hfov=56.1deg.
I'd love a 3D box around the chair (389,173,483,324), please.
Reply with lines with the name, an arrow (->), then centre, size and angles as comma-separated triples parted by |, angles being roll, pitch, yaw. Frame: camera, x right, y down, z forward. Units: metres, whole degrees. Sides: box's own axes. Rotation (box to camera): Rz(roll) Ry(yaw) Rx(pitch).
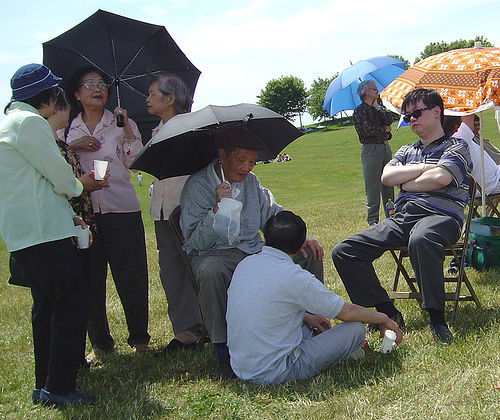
chair -> 2.043, 0.445, 5.283 | 0.767, 1.400, 0.819 | 5, -16, -7

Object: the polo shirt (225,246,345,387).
polo shirt -> 0.300, 0.772, 4.204 | 1.090, 1.195, 0.929 | -15, 24, -28

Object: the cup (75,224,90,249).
cup -> -1.389, 0.238, 4.026 | 0.156, 0.182, 0.164 | -7, -7, -1

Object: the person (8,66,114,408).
person -> -1.654, 0.210, 3.804 | 0.611, 2.118, 0.622 | -7, 5, -12

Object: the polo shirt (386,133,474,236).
polo shirt -> 1.873, -0.304, 5.019 | 0.764, 0.995, 0.585 | 0, -4, 38

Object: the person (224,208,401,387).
person -> 0.517, 0.708, 4.140 | 1.411, 1.344, 1.137 | 0, 7, 19

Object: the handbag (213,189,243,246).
handbag -> -0.200, 0.095, 4.235 | 0.242, 0.408, 0.124 | 9, 4, -2
